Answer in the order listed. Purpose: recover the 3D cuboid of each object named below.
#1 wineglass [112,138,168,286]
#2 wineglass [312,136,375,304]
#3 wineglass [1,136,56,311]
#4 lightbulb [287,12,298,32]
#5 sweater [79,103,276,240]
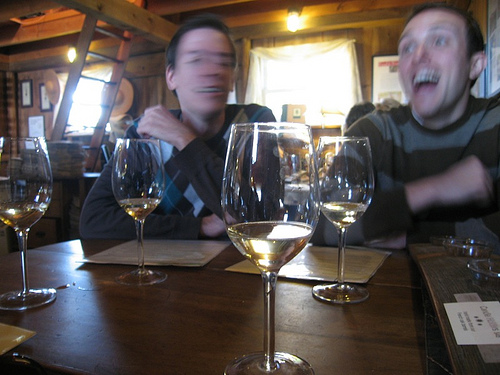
[{"bbox_3d":[-0.245,0.042,0.863,0.115,0.293,0.208,-3,11,-13],"label":"wineglass"},{"bbox_3d":[0.183,0.051,0.785,0.120,0.296,0.202,2,11,16],"label":"wineglass"},{"bbox_3d":[-0.434,0.059,0.750,0.107,0.303,0.157,-6,12,-26],"label":"wineglass"},{"bbox_3d":[0.466,-1.840,4.384,0.139,0.224,0.140,1,3,-10],"label":"lightbulb"},{"bbox_3d":[-0.332,-0.005,1.560,0.868,0.337,0.653,-9,-21,9],"label":"sweater"}]
